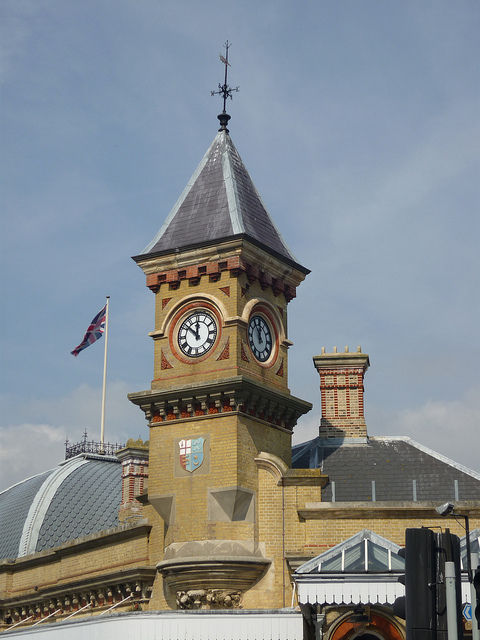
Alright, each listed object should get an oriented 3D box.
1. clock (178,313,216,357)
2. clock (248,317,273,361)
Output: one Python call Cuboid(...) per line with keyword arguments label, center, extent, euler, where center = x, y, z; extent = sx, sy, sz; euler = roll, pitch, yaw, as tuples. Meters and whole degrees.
Cuboid(label="clock", center=(-1.300, 0.490, 51.939), extent=(1.096, 1.263, 0.116), euler=(-4, -5, 34))
Cuboid(label="clock", center=(0.641, 0.590, 52.720), extent=(0.081, 1.385, 1.473), euler=(-7, -18, 25))
